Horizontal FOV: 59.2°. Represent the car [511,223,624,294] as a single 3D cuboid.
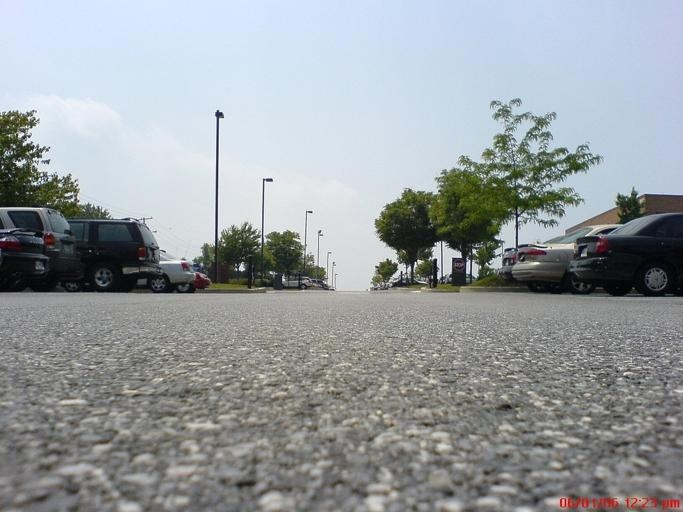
[{"bbox_3d":[6.032,0.051,15.016,3.359,1.306,1.549,-3,2,-13],"label":"car"}]
